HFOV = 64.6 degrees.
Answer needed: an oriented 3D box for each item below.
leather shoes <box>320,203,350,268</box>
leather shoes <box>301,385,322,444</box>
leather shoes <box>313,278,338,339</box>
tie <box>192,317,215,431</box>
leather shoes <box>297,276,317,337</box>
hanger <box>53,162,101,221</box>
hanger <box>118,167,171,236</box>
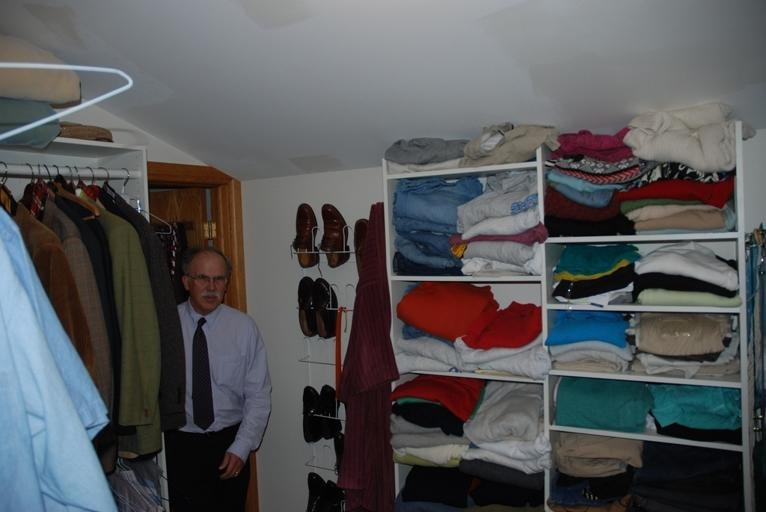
[{"bbox_3d":[-0.268,-0.128,3.577,0.153,0.381,0.167,3,15,28],"label":"leather shoes"},{"bbox_3d":[-0.437,0.952,3.645,0.118,0.318,0.139,-1,5,26],"label":"leather shoes"},{"bbox_3d":[-0.341,0.302,3.603,0.133,0.352,0.141,1,13,24],"label":"leather shoes"},{"bbox_3d":[-0.961,0.614,3.174,0.105,0.602,0.134,-3,0,-19],"label":"tie"},{"bbox_3d":[-0.454,0.301,3.652,0.123,0.344,0.116,-1,11,28],"label":"leather shoes"},{"bbox_3d":[-1.486,-0.340,2.924,0.152,0.184,0.464,-16,35,-37],"label":"hanger"},{"bbox_3d":[-1.301,-0.304,3.286,0.407,0.250,0.028,14,23,33],"label":"hanger"}]
